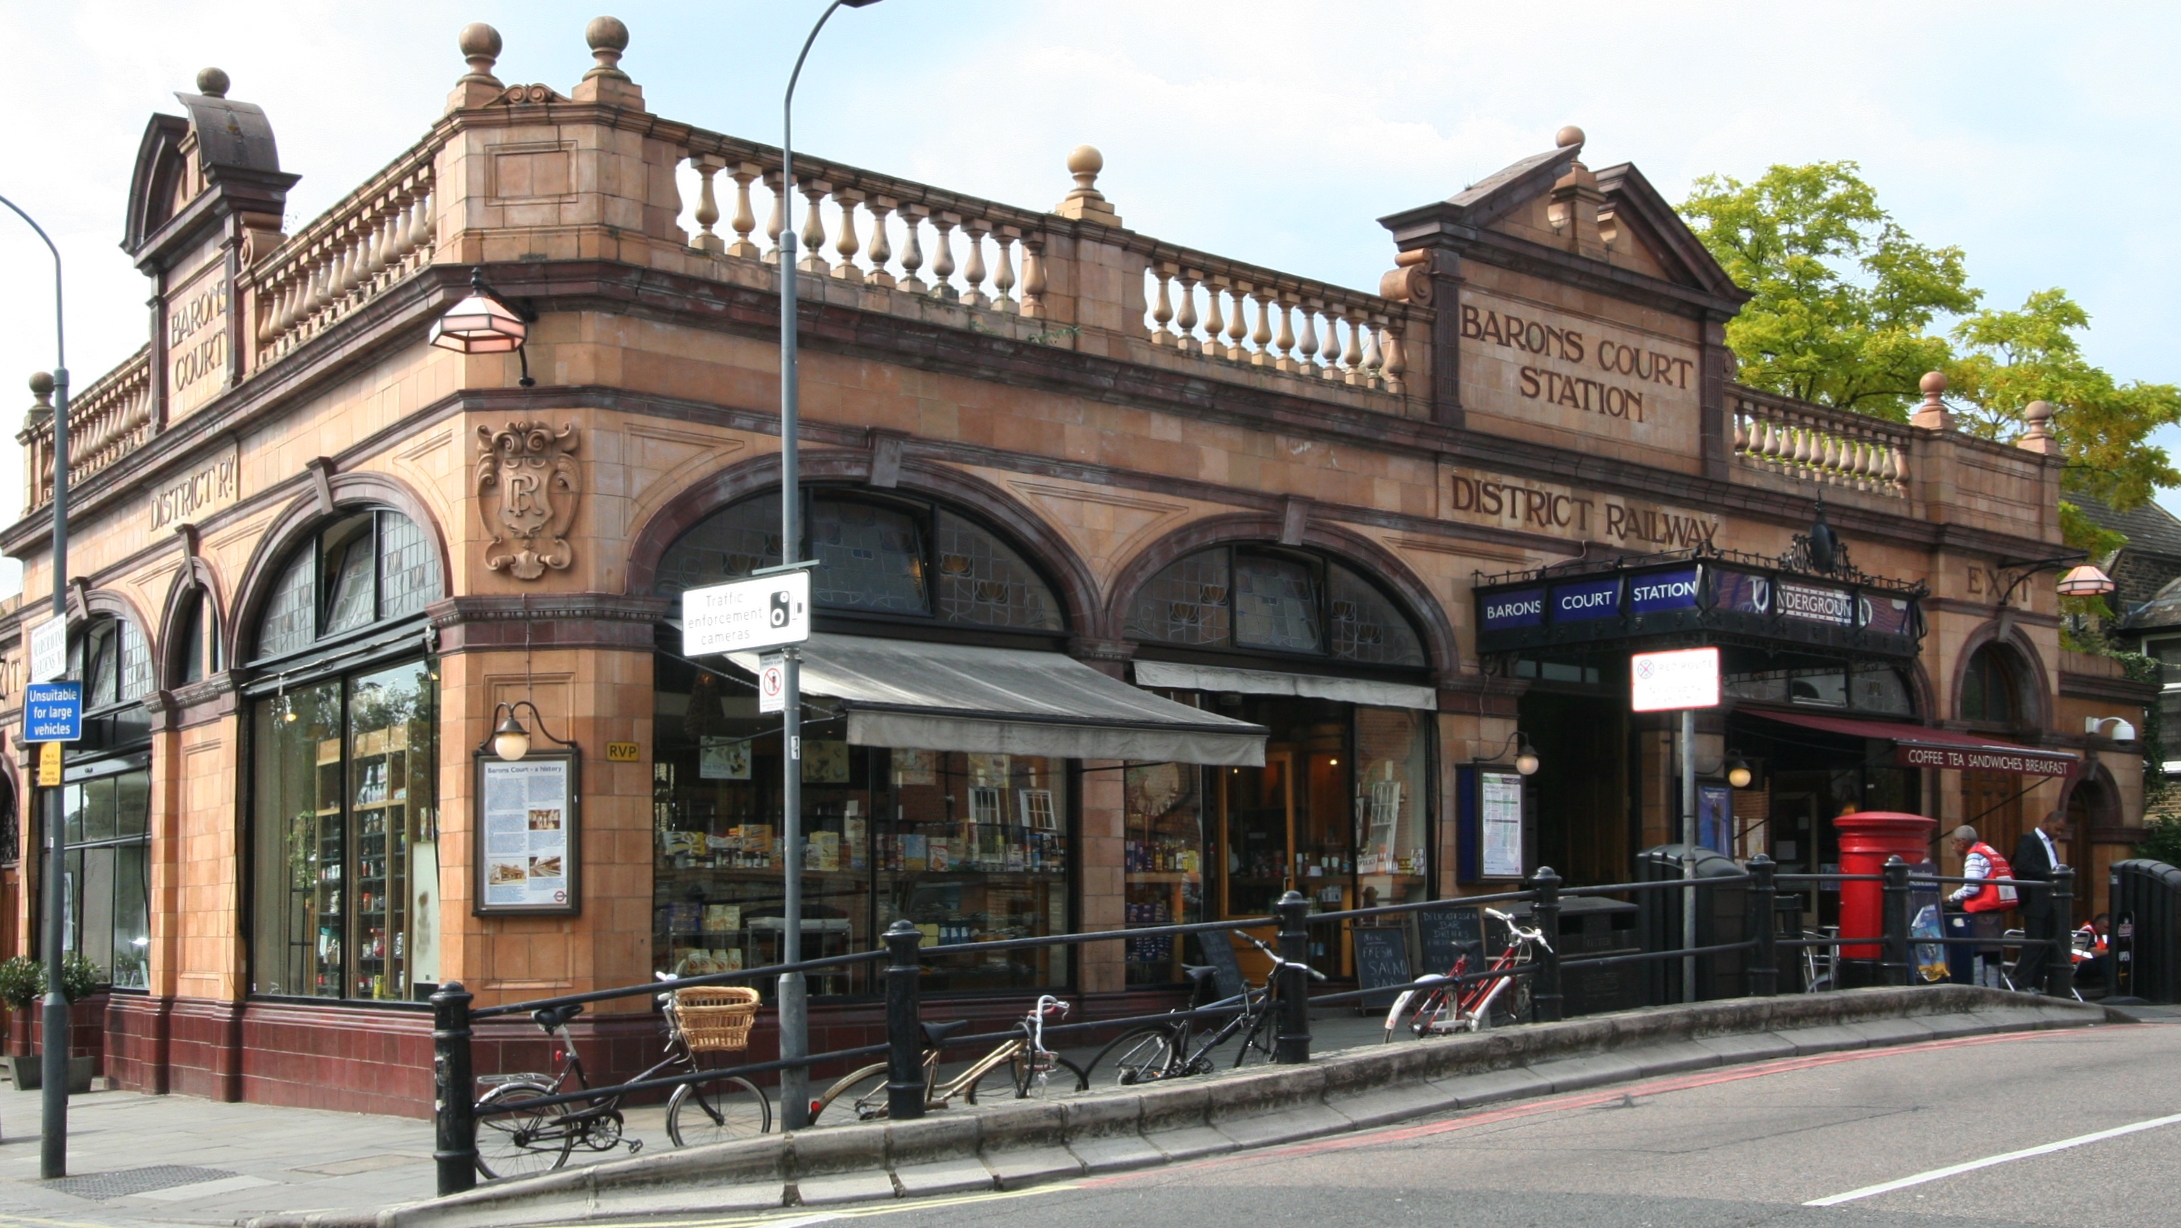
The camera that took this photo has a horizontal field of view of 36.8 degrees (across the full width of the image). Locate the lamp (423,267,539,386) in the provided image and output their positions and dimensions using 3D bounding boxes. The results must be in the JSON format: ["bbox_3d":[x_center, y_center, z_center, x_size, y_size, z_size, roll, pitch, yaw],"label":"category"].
[{"bbox_3d":[-8.584,-4.157,46.317,1.277,1.063,1.744,-4,-18,14],"label":"lamp"}]

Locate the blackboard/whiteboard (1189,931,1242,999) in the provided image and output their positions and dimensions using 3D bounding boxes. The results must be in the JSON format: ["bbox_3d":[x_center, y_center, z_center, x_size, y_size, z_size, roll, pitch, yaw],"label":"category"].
[{"bbox_3d":[1.760,5.008,47.332,0.600,1.712,0.068,-1,-61,-7],"label":"blackboard/whiteboard"}]
